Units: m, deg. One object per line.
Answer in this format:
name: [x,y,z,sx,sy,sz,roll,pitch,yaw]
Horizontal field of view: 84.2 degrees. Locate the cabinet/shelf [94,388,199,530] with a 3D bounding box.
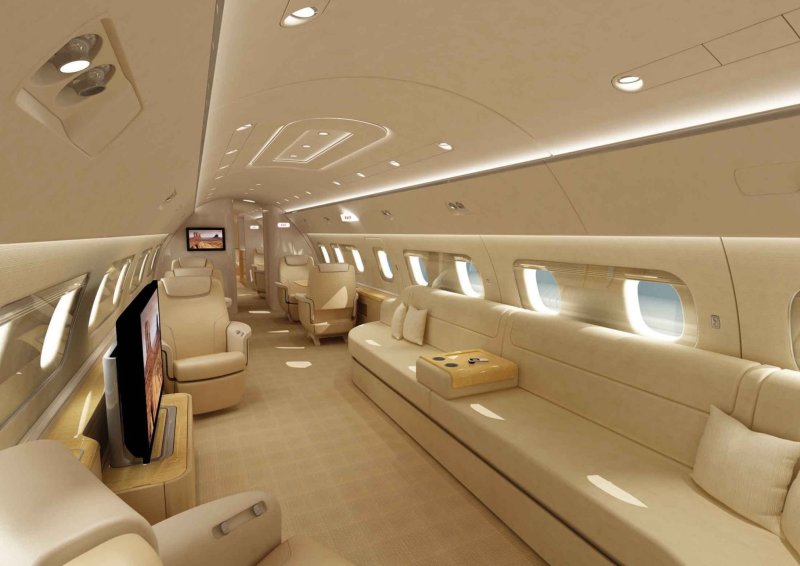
cabinet/shelf: [-1.501,1.027,2.582,0.326,0.329,1.005,-5,12,-26]

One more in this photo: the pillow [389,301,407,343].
pillow: [-0.036,0.545,6.097,0.154,0.447,0.426,12,-16,-19]

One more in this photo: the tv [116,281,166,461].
tv: [-1.674,0.606,2.865,0.120,0.831,1.116,-1,6,-18]

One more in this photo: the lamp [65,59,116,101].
lamp: [-1.085,-0.716,1.573,0.123,0.033,0.123,-39,-2,31]

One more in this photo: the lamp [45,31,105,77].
lamp: [-1.039,-0.740,1.443,0.154,0.122,0.091,1,11,-1]

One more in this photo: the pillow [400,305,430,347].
pillow: [0.191,0.580,5.807,0.172,0.478,0.451,13,-1,-34]
